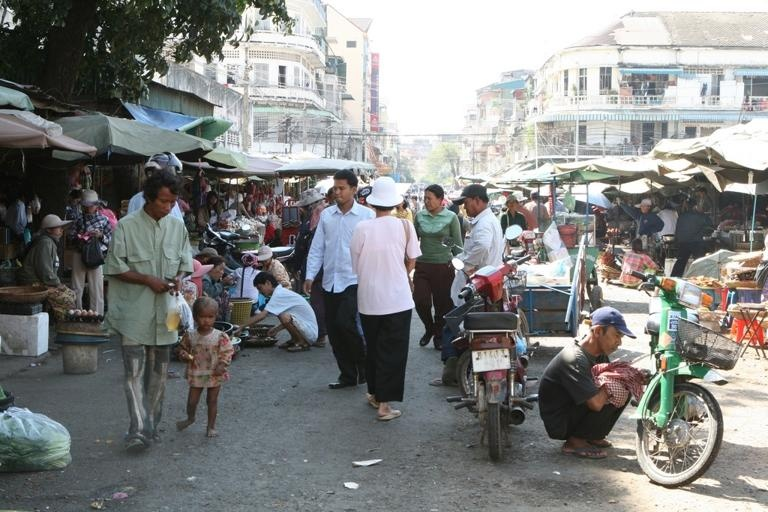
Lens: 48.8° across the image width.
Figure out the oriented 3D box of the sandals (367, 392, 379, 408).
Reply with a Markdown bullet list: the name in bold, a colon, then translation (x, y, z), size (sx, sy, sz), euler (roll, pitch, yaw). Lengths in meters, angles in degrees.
- **sandals**: translation (-0.136, 1.730, 10.096), size (0.087, 0.101, 0.213), euler (4, 11, 11)

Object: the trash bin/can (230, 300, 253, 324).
- **trash bin/can**: translation (-2.258, 0.881, 13.294), size (0.365, 0.301, 0.358), euler (0, -1, 45)

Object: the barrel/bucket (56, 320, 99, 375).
- **barrel/bucket**: translation (-3.994, 1.200, 11.185), size (0.714, 0.786, 0.640), euler (1, -3, -19)

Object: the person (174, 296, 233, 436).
- **person**: translation (-1.987, 1.185, 9.315), size (0.484, 1.457, 0.624), euler (0, 2, -22)

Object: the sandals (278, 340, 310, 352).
- **sandals**: translation (-1.317, 1.322, 12.564), size (0.364, 0.138, 0.191), euler (3, 1, -8)

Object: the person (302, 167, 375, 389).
- **person**: translation (-0.465, 0.367, 10.973), size (0.923, 2.518, 1.133), euler (1, 1, 22)

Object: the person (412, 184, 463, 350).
- **person**: translation (0.721, 0.160, 12.268), size (0.814, 2.322, 0.847), euler (1, 0, 20)

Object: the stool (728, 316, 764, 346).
- **stool**: translation (5.162, 1.064, 12.038), size (0.462, 0.397, 0.446), euler (-3, 8, -11)

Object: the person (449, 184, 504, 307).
- **person**: translation (1.278, -0.133, 11.498), size (0.728, 1.597, 0.607), euler (0, 1, 6)

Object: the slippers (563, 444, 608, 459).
- **slippers**: translation (2.103, 2.037, 8.901), size (0.338, 0.115, 0.172), euler (-2, 2, 9)

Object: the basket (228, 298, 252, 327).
- **basket**: translation (-2.251, 0.864, 13.302), size (0.404, 0.328, 0.384), euler (1, 1, 20)

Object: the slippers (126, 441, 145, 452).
- **slippers**: translation (-2.577, 1.963, 8.790), size (0.179, 0.153, 0.083), euler (-3, 6, -20)

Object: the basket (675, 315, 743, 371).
- **basket**: translation (3.177, 0.862, 8.332), size (0.601, 0.494, 0.228), euler (1, 6, 18)

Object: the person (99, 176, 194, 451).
- **person**: translation (-2.321, 0.575, 9.094), size (0.994, 2.605, 1.265), euler (1, -3, -17)

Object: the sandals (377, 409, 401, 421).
- **sandals**: translation (0.056, 1.828, 9.765), size (0.252, 0.095, 0.105), euler (-9, 11, -26)

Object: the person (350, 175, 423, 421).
- **person**: translation (0.093, 0.469, 9.938), size (0.737, 2.760, 0.601), euler (-5, 7, -35)
